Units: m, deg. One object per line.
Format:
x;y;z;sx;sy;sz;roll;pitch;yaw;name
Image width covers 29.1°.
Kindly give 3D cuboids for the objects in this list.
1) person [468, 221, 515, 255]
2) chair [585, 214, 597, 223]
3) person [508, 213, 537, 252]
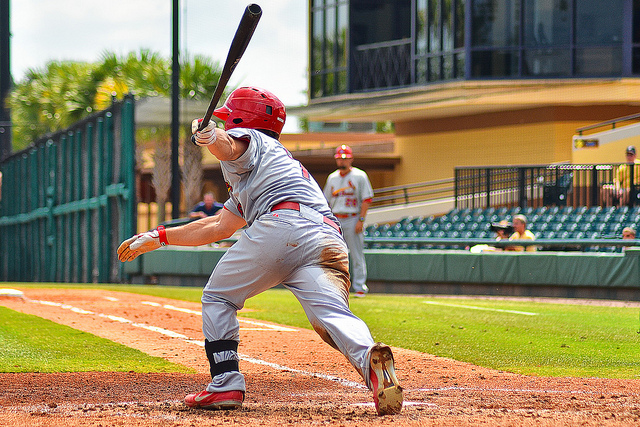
4.417;0.570;29.705;0.970;0.739;1.712;1;2;34;person
6.871;0.119;31.540;0.279;0.186;0.242;1;2;40;chair
4.737;0.477;28.939;0.662;0.841;0.781;0;1;9;person
